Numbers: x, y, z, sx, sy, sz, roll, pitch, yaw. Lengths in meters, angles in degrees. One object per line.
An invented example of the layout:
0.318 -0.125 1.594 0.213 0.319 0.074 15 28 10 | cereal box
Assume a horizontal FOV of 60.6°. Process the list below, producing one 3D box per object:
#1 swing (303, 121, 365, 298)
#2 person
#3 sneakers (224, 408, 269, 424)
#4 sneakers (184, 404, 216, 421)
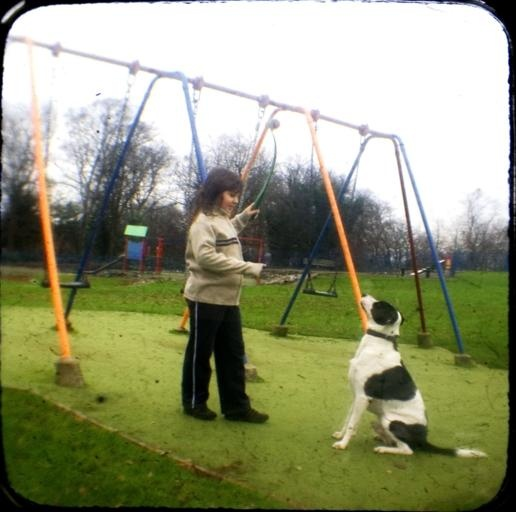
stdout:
1.737 -0.605 10.308 0.433 5.174 0.560 -20 -27 11 | swing
-0.199 0.233 2.892 0.556 1.372 0.615 2 1 -10 | person
-0.069 1.015 2.771 0.263 0.128 0.101 -1 -4 -1 | sneakers
-0.353 0.975 2.726 0.196 0.098 0.084 0 -2 2 | sneakers
